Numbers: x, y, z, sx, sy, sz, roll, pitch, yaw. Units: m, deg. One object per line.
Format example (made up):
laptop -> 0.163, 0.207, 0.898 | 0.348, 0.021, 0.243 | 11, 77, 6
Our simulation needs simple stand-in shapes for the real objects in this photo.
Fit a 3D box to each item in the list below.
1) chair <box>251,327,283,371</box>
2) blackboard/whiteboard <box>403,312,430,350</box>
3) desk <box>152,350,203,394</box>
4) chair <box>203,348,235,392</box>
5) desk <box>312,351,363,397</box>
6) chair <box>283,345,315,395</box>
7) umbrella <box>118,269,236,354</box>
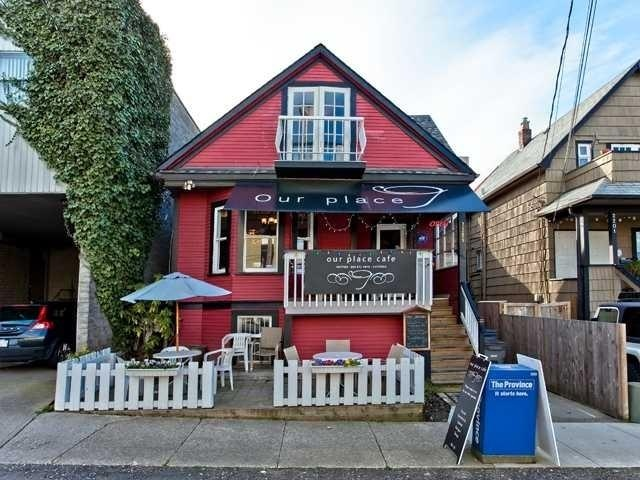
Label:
chair -> -1.393, 2.983, 16.250 | 0.975, 1.400, 1.049 | -2, -12, 14
blackboard/whiteboard -> 2.567, 2.505, 15.634 | 0.991, 1.427, 0.116 | 0, -9, 0
desk -> -3.418, 2.977, 14.073 | 0.880, 1.072, 2.279 | -1, 12, -7
chair -> -2.458, 3.224, 14.269 | 0.747, 1.069, 0.847 | 9, -15, -41
desk -> 0.370, 3.140, 13.086 | 0.903, 0.849, 1.197 | 1, -12, 1
chair -> -0.514, 3.069, 13.523 | 0.706, 1.291, 0.747 | 6, -35, -17
umbrella -> -3.725, 1.934, 14.322 | 2.228, 1.519, 2.160 | 0, 1, -39
